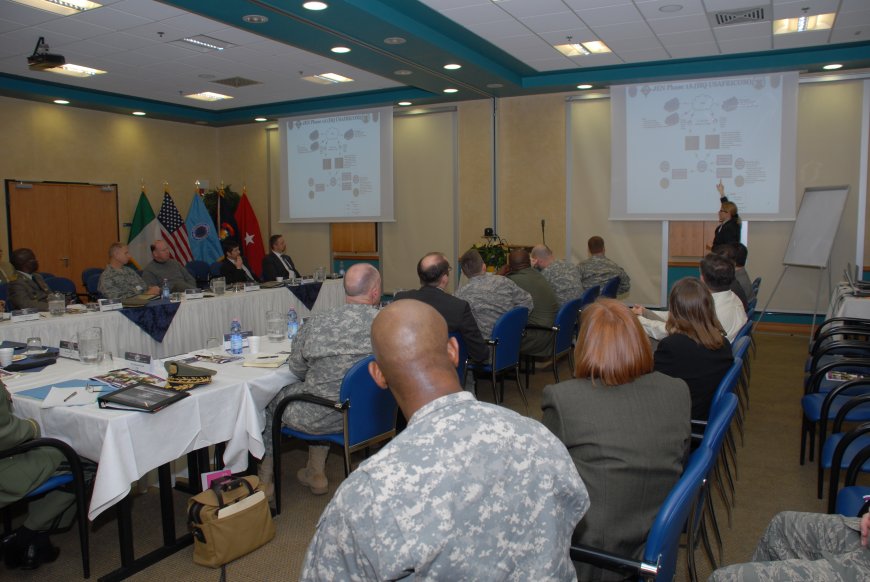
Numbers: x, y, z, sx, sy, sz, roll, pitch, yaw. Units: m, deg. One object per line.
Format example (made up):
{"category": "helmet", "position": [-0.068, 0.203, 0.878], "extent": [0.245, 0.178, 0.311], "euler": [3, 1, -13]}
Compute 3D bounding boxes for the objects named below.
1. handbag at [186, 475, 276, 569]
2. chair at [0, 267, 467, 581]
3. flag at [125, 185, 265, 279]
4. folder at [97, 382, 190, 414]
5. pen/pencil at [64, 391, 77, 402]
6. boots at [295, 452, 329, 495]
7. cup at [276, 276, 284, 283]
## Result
{"category": "handbag", "position": [-1.192, 1.378, 3.416], "extent": [0.221, 0.396, 0.434], "euler": [-14, -6, 38]}
{"category": "chair", "position": [-1.291, 0.732, 3.625], "extent": [2.003, 1.593, 0.822], "euler": [-11, 13, -37]}
{"category": "flag", "position": [-4.056, -0.976, 9.757], "extent": [1.634, 1.755, 0.238], "euler": [-5, -5, -21]}
{"category": "folder", "position": [-1.673, 0.624, 3.356], "extent": [0.350, 0.115, 0.356], "euler": [3, 11, 30]}
{"category": "pen/pencil", "position": [-2.118, 0.615, 3.402], "extent": [0.017, 0.026, 0.069], "euler": [0, 13, 17]}
{"category": "boots", "position": [-0.866, 1.239, 4.143], "extent": [0.151, 0.340, 0.329], "euler": [-1, 4, -42]}
{"category": "cup", "position": [-2.100, -0.164, 7.864], "extent": [0.100, 0.082, 0.105], "euler": [-2, -1, 0]}
